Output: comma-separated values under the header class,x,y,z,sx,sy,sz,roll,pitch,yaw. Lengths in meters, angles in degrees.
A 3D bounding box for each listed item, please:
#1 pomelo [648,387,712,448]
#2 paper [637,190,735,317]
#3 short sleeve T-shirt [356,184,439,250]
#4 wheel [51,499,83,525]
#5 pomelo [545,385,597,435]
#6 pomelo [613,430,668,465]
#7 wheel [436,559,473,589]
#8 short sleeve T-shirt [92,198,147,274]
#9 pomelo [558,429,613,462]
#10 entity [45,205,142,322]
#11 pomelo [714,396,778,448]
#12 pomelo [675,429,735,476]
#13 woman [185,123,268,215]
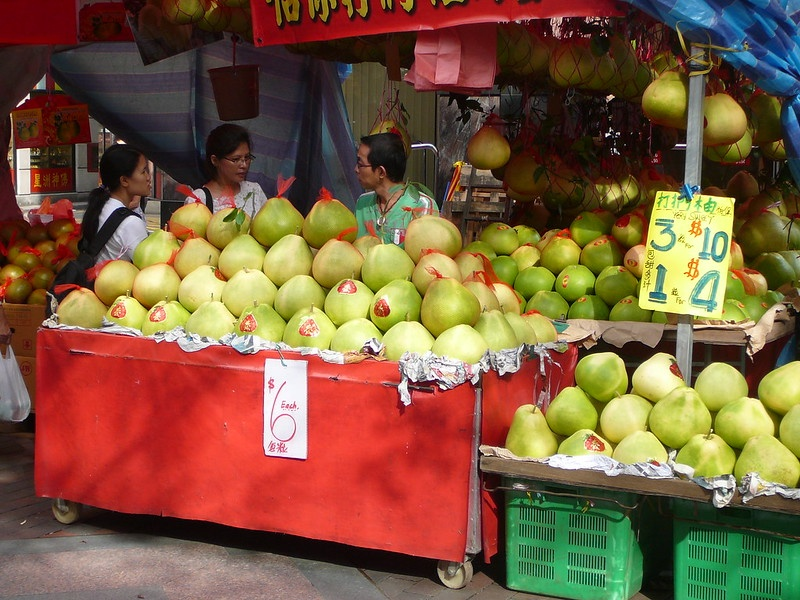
class,x,y,z,sx,sy,sz,roll,pitch,yaw
pomelo,1.284,0.558,3.007,0.233,0.276,0.259,2,-29,1
paper,1.358,-0.222,3.237,0.381,0.566,0.157,4,8,24
short sleeve T-shirt,-0.013,-0.485,4.035,0.254,0.412,0.459,-3,4,-45
wheel,-1.804,1.134,3.685,0.170,0.139,0.049,-28,-9,35
pomelo,0.802,0.540,3.132,0.171,0.191,0.174,-21,17,19
pomelo,1.026,0.630,2.904,0.141,0.168,0.155,-7,2,16
wheel,0.255,1.231,3.135,0.158,0.170,0.161,1,7,0
short sleeve T-shirt,-1.808,-0.433,4.341,0.153,0.324,0.272,16,-38,-5
pomelo,0.823,0.631,2.991,0.245,0.100,0.174,2,8,7
entity,-2.001,-0.263,4.150,0.629,0.702,0.422,-6,-7,-8
pomelo,1.456,0.528,2.915,0.200,0.223,0.210,8,-14,-30
pomelo,1.279,0.630,2.873,0.169,0.197,0.180,-2,11,-14
woman,-1.262,-0.885,5.005,0.367,0.736,0.680,18,20,38
